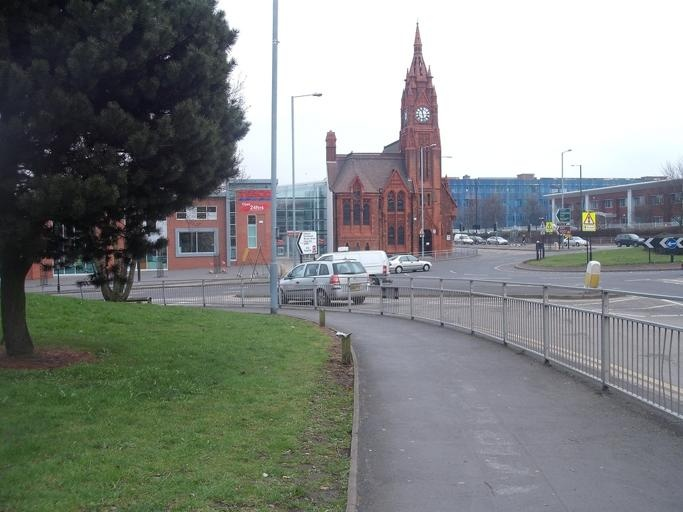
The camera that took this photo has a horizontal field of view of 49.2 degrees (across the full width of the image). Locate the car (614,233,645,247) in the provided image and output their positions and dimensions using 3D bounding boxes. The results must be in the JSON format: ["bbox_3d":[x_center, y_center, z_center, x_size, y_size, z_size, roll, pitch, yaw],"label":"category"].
[{"bbox_3d":[29.226,-1.525,76.144,1.682,1.346,6.875,3,7,13],"label":"car"}]

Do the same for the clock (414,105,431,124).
[{"bbox_3d":[8.725,-15.156,79.894,1.629,1.841,0.303,-1,7,-14],"label":"clock"}]

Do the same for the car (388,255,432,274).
[{"bbox_3d":[4.923,0.609,55.481,3.716,1.220,1.475,-4,8,-36],"label":"car"}]

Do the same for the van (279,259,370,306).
[{"bbox_3d":[-0.747,0.973,27.229,1.632,1.151,2.872,0,2,-35],"label":"van"}]

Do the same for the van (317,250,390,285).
[{"bbox_3d":[1.003,0.638,41.576,3.213,1.439,1.843,1,0,-9],"label":"van"}]
